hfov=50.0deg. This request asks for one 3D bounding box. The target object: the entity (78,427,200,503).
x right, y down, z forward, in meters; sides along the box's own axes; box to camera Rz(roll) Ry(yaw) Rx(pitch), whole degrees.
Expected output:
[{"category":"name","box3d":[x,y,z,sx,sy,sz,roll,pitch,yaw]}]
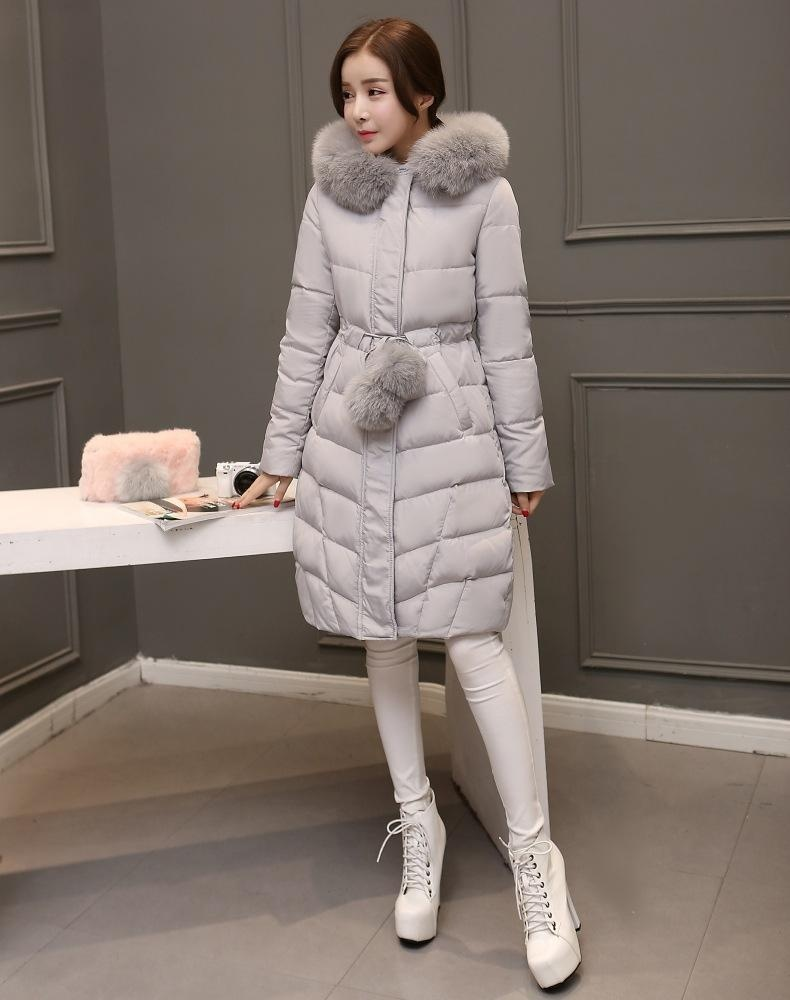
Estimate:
[{"category":"entity","box3d":[-0.465,-0.064,1.542,0.093,0.126,0.233,14,14,42]}]

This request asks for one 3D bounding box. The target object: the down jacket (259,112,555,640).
[{"category":"down jacket","box3d":[-0.015,-0.186,1.282,0.480,0.816,0.243,-1,7,10]}]

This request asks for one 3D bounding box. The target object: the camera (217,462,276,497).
[{"category":"camera","box3d":[-0.278,-0.041,1.501,0.103,0.067,0.055,0,4,-9]}]

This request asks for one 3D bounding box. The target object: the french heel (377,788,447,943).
[{"category":"french heel","box3d":[0.033,0.616,1.425,0.072,0.089,0.215,-2,17,8]}]

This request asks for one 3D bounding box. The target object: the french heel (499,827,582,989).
[{"category":"french heel","box3d":[0.204,0.615,1.316,0.074,0.111,0.240,-21,28,14]}]
